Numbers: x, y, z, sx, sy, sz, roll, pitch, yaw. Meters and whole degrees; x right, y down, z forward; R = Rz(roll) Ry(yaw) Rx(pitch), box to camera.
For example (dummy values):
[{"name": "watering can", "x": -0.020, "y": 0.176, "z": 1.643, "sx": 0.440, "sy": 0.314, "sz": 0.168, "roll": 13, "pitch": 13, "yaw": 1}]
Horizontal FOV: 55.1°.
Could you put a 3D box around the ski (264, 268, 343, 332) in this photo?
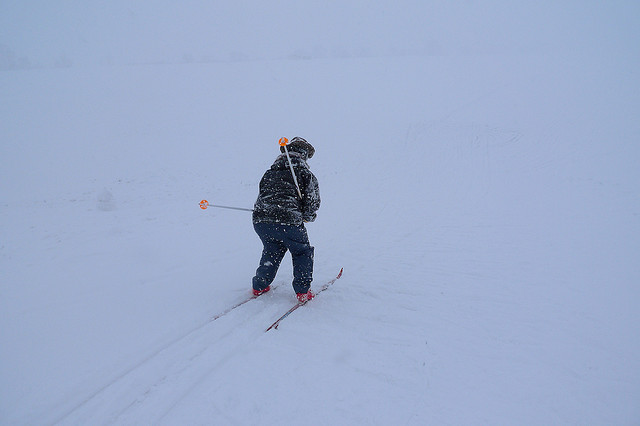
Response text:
[{"name": "ski", "x": -0.287, "y": 1.442, "z": 9.844, "sx": 1.417, "sy": 0.159, "sz": 0.153, "roll": -35, "pitch": 41, "yaw": -25}]

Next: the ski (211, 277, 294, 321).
[{"name": "ski", "x": -1.097, "y": 1.434, "z": 9.958, "sx": 1.052, "sy": 0.083, "sz": 0.103, "roll": -32, "pitch": 36, "yaw": -28}]
